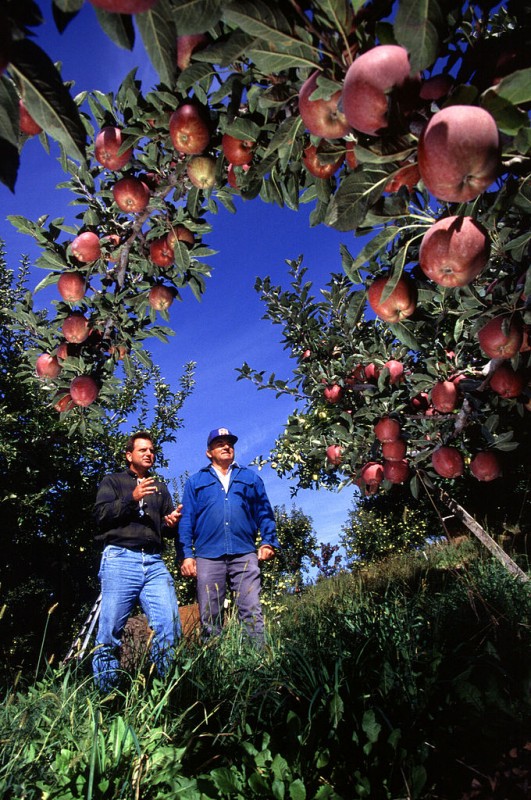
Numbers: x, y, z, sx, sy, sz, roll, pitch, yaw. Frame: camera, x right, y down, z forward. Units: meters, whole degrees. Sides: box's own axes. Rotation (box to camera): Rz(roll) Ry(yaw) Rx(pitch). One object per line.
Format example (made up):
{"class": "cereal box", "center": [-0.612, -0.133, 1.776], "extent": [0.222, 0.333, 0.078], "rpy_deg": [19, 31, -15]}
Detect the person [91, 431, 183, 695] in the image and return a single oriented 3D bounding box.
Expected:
{"class": "person", "center": [-0.939, 1.045, 3.864], "extent": [0.640, 2.020, 1.471], "rpy_deg": [1, -35, -14]}

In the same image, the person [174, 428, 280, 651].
{"class": "person", "center": [-0.305, 1.124, 4.677], "extent": [0.894, 2.055, 1.176], "rpy_deg": [0, -35, -12]}
